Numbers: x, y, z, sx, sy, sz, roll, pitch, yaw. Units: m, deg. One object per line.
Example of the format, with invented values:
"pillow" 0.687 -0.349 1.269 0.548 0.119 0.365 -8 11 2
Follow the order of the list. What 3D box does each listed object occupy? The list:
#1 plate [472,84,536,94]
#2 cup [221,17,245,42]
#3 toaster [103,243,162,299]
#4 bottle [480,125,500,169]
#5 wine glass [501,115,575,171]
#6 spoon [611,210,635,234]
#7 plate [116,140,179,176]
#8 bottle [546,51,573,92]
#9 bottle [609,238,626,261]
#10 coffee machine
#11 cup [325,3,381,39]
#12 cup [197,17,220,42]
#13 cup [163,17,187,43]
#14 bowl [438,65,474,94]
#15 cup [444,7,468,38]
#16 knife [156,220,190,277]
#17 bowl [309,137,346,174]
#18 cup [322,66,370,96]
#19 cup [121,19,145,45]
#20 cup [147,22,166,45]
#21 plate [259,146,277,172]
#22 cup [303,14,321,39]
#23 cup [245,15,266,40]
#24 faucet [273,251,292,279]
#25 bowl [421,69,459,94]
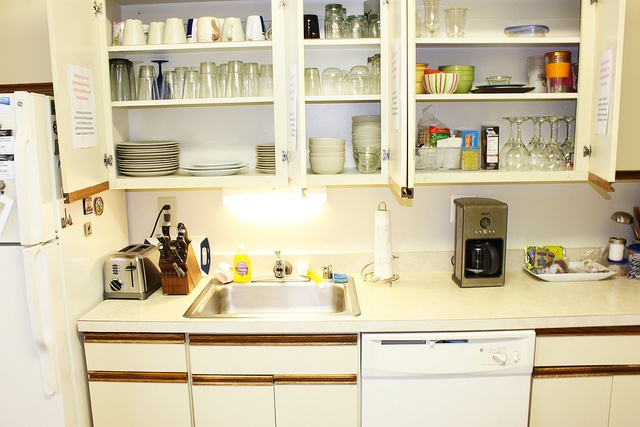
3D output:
"plate" 1.071 -0.740 2.862 0.339 0.057 0.077 -2 10 0
"cup" -0.522 -1.092 2.859 0.100 0.134 0.157 3 23 1
"toaster" -1.159 0.357 3.027 0.200 0.221 0.366 1 2 3
"bottle" 1.041 -0.408 2.970 0.108 0.259 0.164 2 11 18
"wine glass" 1.324 -0.390 2.989 0.392 0.262 0.392 1 3 17
"spoon" 1.931 0.051 3.097 0.138 0.102 0.107 -9 11 12
"plate" -1.055 -0.340 2.971 0.250 0.123 0.255 6 8 41
"bottle" 1.450 -0.859 2.923 0.165 0.250 0.166 -2 11 0
"bottle" 1.928 0.228 3.134 0.112 0.150 0.107 -2 11 0
"coffee machine" 0.996 0.177 3.036 0.315 0.528 0.254 1 11 15
"cup" 0.179 -1.131 2.837 0.395 0.274 0.157 1 15 4
"cup" -0.665 -1.093 2.854 0.103 0.117 0.161 -2 17 -13
"cup" -0.866 -1.076 2.857 0.144 0.145 0.139 3 10 -1
"bowl" 0.824 -0.816 2.949 0.167 0.134 0.177 -1 6 0
"cup" 0.789 -1.123 2.836 0.118 0.181 0.091 1 11 13
"knife" -0.886 0.213 2.879 0.183 0.328 0.097 -2 12 -3
"bowl" 0.039 -0.355 2.973 0.199 0.193 0.218 0 -2 0
"cup" 0.150 -0.789 2.879 0.265 0.144 0.162 1 9 6
"cup" -1.101 -1.062 2.874 0.144 0.146 0.139 3 7 0
"cup" -0.986 -1.076 2.884 0.111 0.132 0.072 -3 11 -7
"plate" -0.331 -0.338 2.951 0.152 0.127 0.150 0 11 -1
"cup" -0.056 -1.099 2.835 0.085 0.141 0.141 -6 12 -19
"cup" -0.395 -1.115 2.895 0.115 0.164 0.105 -2 11 0
"faucet" -0.248 0.322 3.148 0.120 0.172 0.092 -3 11 -6
"bowl" 0.707 -0.771 2.823 0.158 0.100 0.154 2 7 0
